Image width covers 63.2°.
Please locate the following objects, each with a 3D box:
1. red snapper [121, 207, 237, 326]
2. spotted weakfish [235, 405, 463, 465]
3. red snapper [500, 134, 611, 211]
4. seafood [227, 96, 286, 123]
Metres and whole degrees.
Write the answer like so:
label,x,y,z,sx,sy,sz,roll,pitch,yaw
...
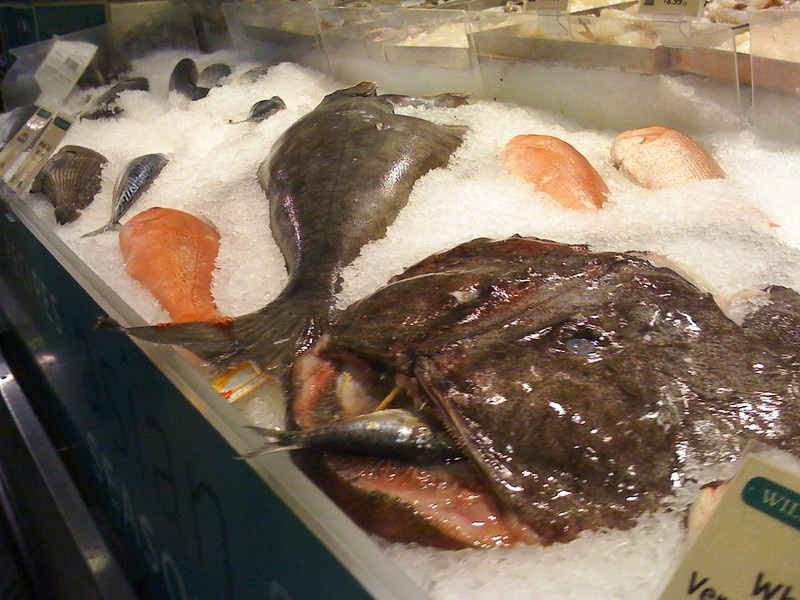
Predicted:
label,x,y,z,sx,sy,sz,roll,pitch,yaw
red snapper,-0.578,-0.107,1.658,0.291,0.072,0.370,-14,51,-15
spotted weakfish,-0.083,0.246,1.187,0.385,0.082,0.098,-2,39,4
red snapper,0.401,-0.332,1.705,0.280,0.172,0.306,-18,31,-36
seafood,-0.489,-0.676,2.297,0.127,0.041,0.164,13,24,14
